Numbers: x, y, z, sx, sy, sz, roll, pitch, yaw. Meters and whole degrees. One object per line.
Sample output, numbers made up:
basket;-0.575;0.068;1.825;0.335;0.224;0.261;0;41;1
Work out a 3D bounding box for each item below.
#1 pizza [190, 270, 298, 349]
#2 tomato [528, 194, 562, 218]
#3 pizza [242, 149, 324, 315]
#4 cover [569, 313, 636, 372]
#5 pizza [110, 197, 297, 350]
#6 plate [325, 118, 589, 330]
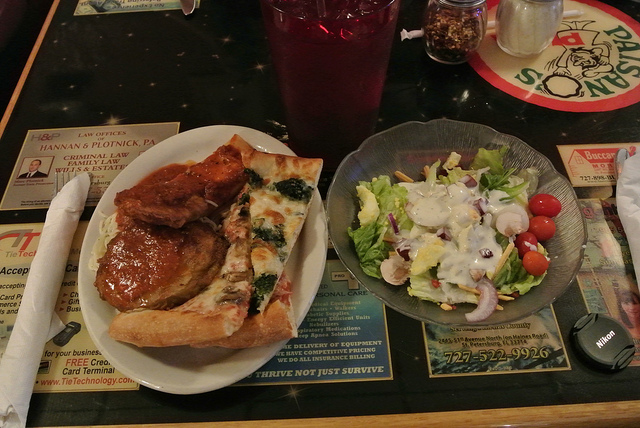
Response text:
pizza;-0.261;0.381;1.779;0.372;0.111;0.260;-6;68;6
tomato;0.997;-0.041;2.073;0.143;0.093;0.093;8;52;21
pizza;-0.221;0.049;2.134;0.475;0.152;0.687;10;95;32
cover;1.197;0.543;1.963;0.254;0.035;0.243;-4;64;1
pizza;-0.511;0.255;1.984;0.767;0.143;0.601;-5;64;1
plate;0.593;0.004;2.068;1.105;0.156;1.011;-14;64;-3
